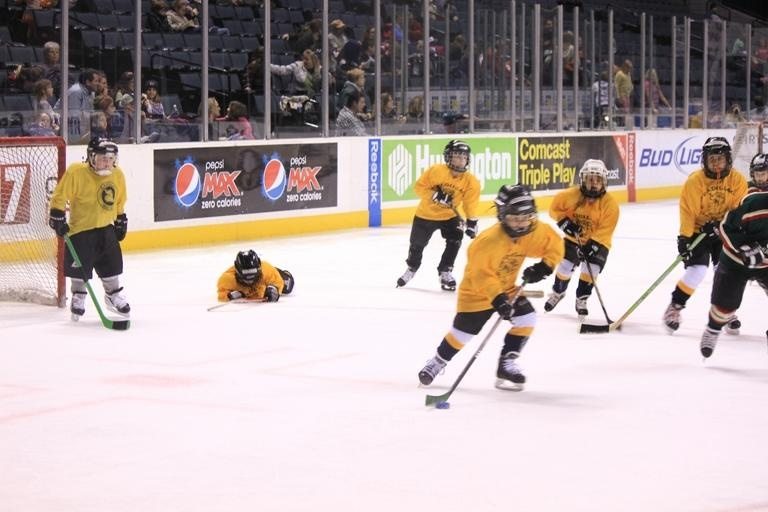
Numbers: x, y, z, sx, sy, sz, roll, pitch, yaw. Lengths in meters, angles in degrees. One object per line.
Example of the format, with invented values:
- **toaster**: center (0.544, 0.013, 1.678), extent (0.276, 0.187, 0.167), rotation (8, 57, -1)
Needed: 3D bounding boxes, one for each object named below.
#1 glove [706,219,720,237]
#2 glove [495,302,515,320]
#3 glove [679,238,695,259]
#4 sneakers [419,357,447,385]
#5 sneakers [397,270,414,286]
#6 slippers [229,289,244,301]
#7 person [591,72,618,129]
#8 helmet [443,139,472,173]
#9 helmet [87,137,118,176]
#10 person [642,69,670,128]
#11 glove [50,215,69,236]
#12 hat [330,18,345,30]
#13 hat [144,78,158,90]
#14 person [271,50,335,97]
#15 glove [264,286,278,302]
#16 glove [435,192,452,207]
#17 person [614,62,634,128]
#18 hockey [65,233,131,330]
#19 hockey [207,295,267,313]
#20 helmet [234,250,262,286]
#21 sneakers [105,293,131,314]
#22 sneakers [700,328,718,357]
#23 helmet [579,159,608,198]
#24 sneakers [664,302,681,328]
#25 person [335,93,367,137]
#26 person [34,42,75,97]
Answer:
- **glove**: center (2.756, -0.246, 6.889), extent (0.124, 0.123, 0.039), rotation (28, 14, 29)
- **glove**: center (0.782, 0.351, 5.300), extent (0.112, 0.091, 0.041), rotation (8, 39, 8)
- **glove**: center (2.515, -0.065, 6.862), extent (0.063, 0.157, 0.127), rotation (0, 12, 4)
- **sneakers**: center (0.342, 0.788, 5.625), extent (0.211, 0.070, 0.087), rotation (-41, 9, -19)
- **sneakers**: center (0.219, 0.233, 8.600), extent (0.118, 0.075, 0.201), rotation (42, 70, 15)
- **slippers**: center (-1.389, 0.367, 7.716), extent (0.087, 0.103, 0.093), rotation (-4, 42, 2)
- **person**: center (4.158, -2.974, 15.738), extent (0.462, 1.050, 0.166), rotation (-9, 15, -37)
- **helmet**: center (0.732, -1.020, 8.515), extent (0.264, 0.285, 0.310), rotation (2, -1, -14)
- **helmet**: center (-2.401, -0.839, 6.986), extent (0.249, 0.316, 0.218), rotation (-5, 13, -20)
- **person**: center (5.468, -3.170, 16.559), extent (0.224, 1.130, 0.894), rotation (11, 16, 41)
- **glove**: center (-2.702, -0.257, 6.924), extent (0.165, 0.160, 0.125), rotation (-2, 7, 25)
- **hat**: center (-0.684, -3.373, 12.075), extent (0.164, 0.045, 0.153), rotation (-22, 54, -22)
- **hat**: center (-3.028, -2.204, 10.662), extent (0.122, 0.111, 0.142), rotation (-2, 12, -9)
- **person**: center (-1.213, -2.613, 11.845), extent (0.807, 0.772, 0.222), rotation (1, -2, -28)
- **glove**: center (-1.060, 0.350, 7.724), extent (0.129, 0.169, 0.095), rotation (6, -3, 3)
- **glove**: center (0.595, -0.578, 8.347), extent (0.183, 0.068, 0.116), rotation (19, -14, -10)
- **person**: center (4.700, -3.166, 16.077), extent (0.545, 1.270, 0.170), rotation (-10, 15, -38)
- **hockey**: center (-2.546, 0.205, 7.172), extent (0.195, 0.185, 1.384), rotation (-20, 56, -31)
- **hockey**: center (-1.409, 0.429, 7.669), extent (0.581, 0.043, 0.226), rotation (-8, 15, -35)
- **helmet**: center (-1.251, 0.133, 7.579), extent (0.250, 0.297, 0.308), rotation (-4, 38, -7)
- **sneakers**: center (-2.304, 0.388, 7.194), extent (0.135, 0.150, 0.311), rotation (-15, 18, -39)
- **sneakers**: center (2.423, 0.640, 6.121), extent (0.071, 0.209, 0.153), rotation (9, 5, 17)
- **helmet**: center (1.847, -0.654, 7.211), extent (0.255, 0.324, 0.330), rotation (1, -2, 16)
- **sneakers**: center (2.411, 0.498, 6.899), extent (0.095, 0.241, 0.105), rotation (7, -5, 2)
- **person**: center (-0.474, -2.040, 12.578), extent (0.499, 0.886, 0.671), rotation (2, 21, -3)
- **person**: center (-3.962, -2.144, 9.853), extent (0.349, 0.775, 0.480), rotation (11, 20, 38)
